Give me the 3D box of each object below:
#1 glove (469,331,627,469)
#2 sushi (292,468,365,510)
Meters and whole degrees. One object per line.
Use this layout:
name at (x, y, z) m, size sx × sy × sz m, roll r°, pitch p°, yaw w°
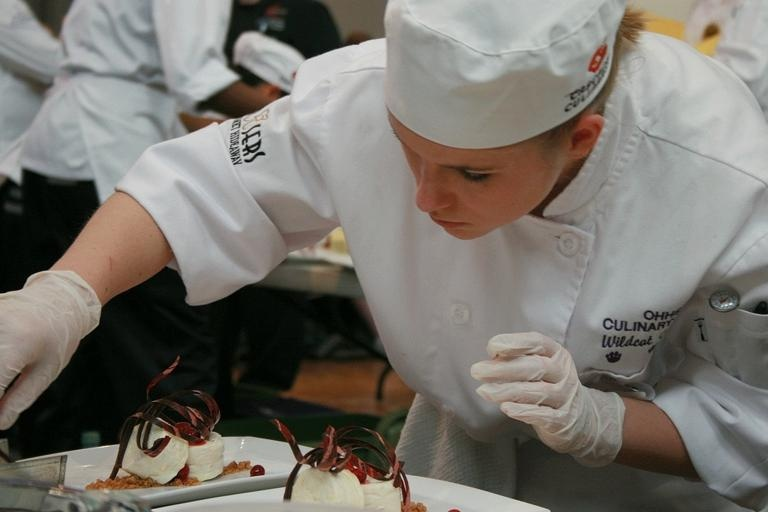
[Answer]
glove at (0.398, 0.352, 2.080) m, size 0.389 × 0.336 × 0.166 m, roll 3°, pitch 48°, yaw 3°
sushi at (-0.125, 0.499, 1.865) m, size 0.156 × 0.054 × 0.075 m, roll 5°, pitch 50°, yaw 3°
